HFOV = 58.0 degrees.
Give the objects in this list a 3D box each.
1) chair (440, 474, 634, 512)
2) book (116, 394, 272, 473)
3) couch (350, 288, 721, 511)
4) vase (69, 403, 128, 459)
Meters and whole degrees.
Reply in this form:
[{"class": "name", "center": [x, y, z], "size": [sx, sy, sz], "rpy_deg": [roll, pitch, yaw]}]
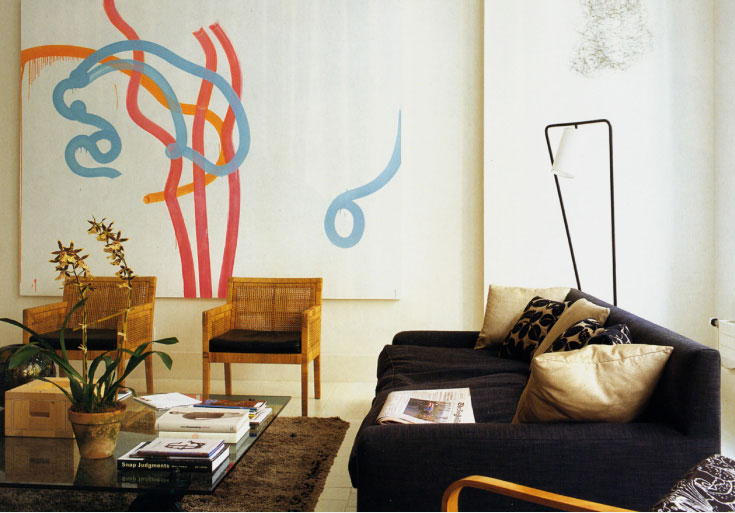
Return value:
[{"class": "chair", "center": [0.733, 1.096, 2.932], "size": [0.803, 0.176, 0.165], "rpy_deg": [1, 11, 10]}, {"class": "book", "center": [-0.971, 0.958, 3.584], "size": [0.343, 0.117, 0.589], "rpy_deg": [0, 8, 13]}, {"class": "couch", "center": [0.778, 0.724, 3.843], "size": [1.774, 0.798, 1.610], "rpy_deg": [-1, 10, -1]}, {"class": "vase", "center": [-1.382, 0.874, 3.422], "size": [0.275, 0.228, 0.270], "rpy_deg": [2, -2, -34]}]
